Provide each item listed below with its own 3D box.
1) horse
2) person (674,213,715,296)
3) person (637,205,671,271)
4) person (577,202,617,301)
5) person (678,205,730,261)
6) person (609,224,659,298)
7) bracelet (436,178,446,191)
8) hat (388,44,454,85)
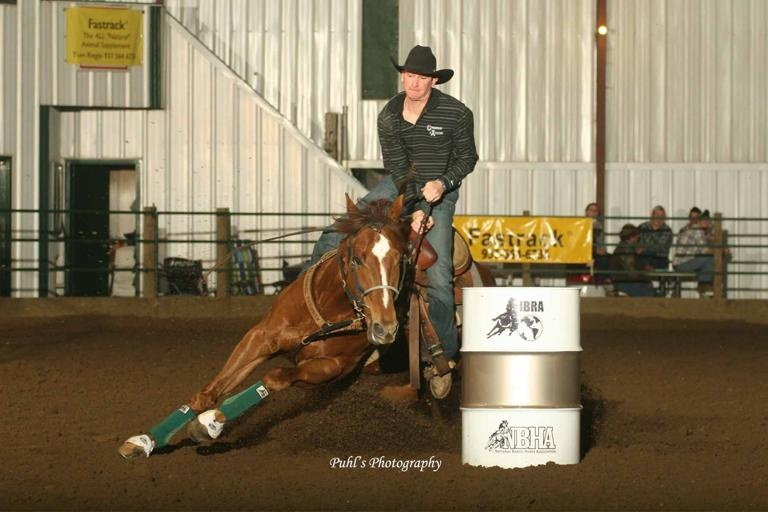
[{"bbox_3d":[-2.046,2.309,36.911,6.636,2.570,10.941,-43,8,-11],"label":"horse"},{"bbox_3d":[7.418,-0.122,41.139,1.082,2.179,0.846,-2,14,-7],"label":"person"},{"bbox_3d":[6.428,-0.425,41.044,0.573,1.729,0.693,6,-9,-5],"label":"person"},{"bbox_3d":[4.925,-0.417,41.002,0.422,1.716,0.902,0,-3,31],"label":"person"},{"bbox_3d":[7.474,-0.407,41.233,0.892,1.436,1.379,0,-7,2],"label":"person"},{"bbox_3d":[5.820,0.105,40.667,0.974,1.640,1.083,0,1,9],"label":"person"},{"bbox_3d":[1.059,-1.382,32.496,0.188,0.069,0.176,36,7,-24],"label":"bracelet"},{"bbox_3d":[0.682,-3.756,32.768,1.194,0.524,1.344,10,-2,16],"label":"hat"}]
